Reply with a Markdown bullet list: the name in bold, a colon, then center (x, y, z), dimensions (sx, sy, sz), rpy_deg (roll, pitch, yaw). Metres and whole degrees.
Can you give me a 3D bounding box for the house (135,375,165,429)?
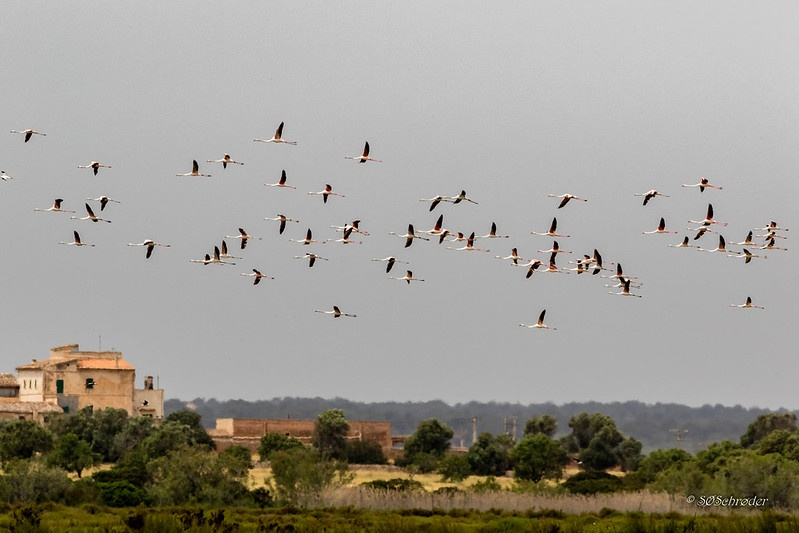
- **house**: center (-31.884, 17.067, 238.495), dimensions (4.594, 6.005, 4.229), rpy_deg (-1, 0, -19)
